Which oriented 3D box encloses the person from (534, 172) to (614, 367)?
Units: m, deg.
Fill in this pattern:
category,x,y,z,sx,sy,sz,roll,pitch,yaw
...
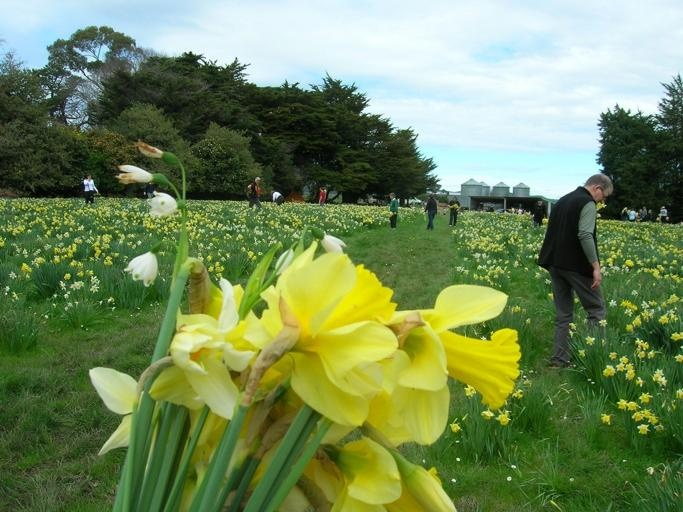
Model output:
category,x,y,z,sx,sy,sz,roll,pitch,yaw
person,2.543,0.111,5.686,0.671,2.058,0.839,4,5,11
